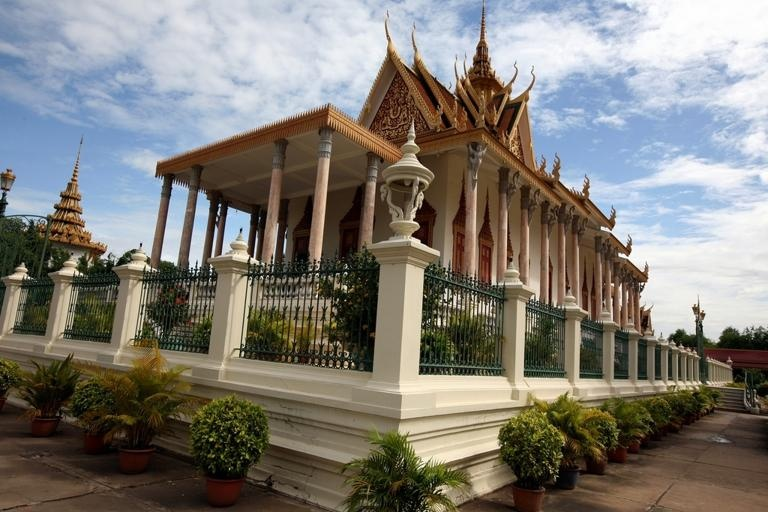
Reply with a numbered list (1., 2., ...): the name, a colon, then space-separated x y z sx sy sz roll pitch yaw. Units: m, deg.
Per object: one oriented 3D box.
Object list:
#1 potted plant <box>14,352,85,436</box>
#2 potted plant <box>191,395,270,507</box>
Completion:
1. potted plant: -6.018 2.521 9.237 1.155 1.462 1.166 10 -14 -36
2. potted plant: -2.072 2.664 7.240 1.257 1.435 1.146 6 -15 -24
